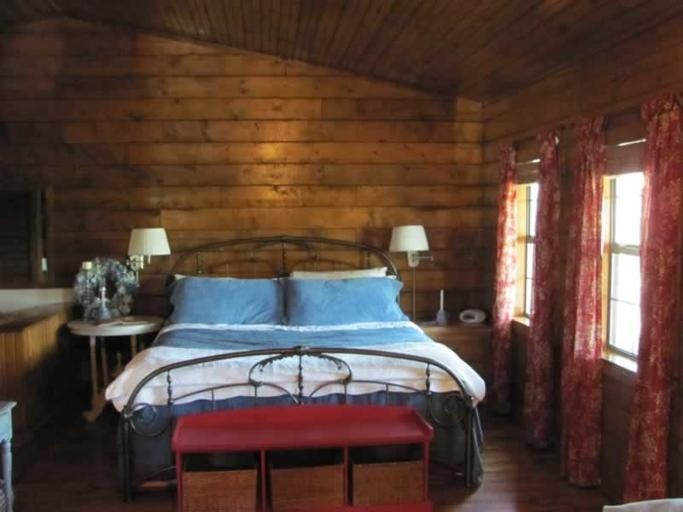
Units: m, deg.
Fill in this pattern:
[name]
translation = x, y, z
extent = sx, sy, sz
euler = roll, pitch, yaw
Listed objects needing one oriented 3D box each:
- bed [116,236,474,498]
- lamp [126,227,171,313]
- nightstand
[bed]
translation = -0.443, 0.688, 5.267
extent = 2.350, 1.386, 2.945
euler = 0, 5, -8
[lamp]
translation = -1.663, 0.001, 5.345
extent = 0.399, 0.484, 0.362
euler = -4, 2, -12
[nightstand]
translation = 1.101, 0.773, 5.629
extent = 0.827, 0.749, 0.465
euler = 0, -1, -1
